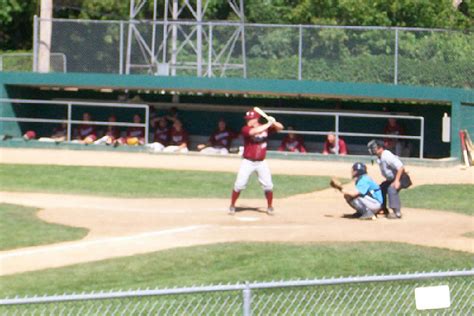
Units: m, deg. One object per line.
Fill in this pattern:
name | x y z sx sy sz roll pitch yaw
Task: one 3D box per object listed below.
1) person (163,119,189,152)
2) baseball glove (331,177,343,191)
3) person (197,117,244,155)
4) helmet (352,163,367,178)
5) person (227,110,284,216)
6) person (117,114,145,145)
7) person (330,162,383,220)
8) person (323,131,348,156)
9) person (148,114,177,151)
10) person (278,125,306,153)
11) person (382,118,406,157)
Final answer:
person | -2.041 -0.736 38.775 0.602 1.317 1.092 2 -1 -3
baseball glove | 3.016 0.759 33.032 0.330 0.434 0.799 0 6 4
person | -0.409 -0.832 38.756 1.069 1.378 1.930 0 -3 -5
helmet | 3.644 0.362 32.862 0.432 0.465 0.343 4 4 16
person | 0.581 0.106 32.908 1.430 3.286 0.855 0 5 1
person | -3.647 -0.876 38.946 0.694 1.372 0.828 3 -3 -15
person | 3.801 1.001 32.953 1.118 1.720 0.456 0 5 6
person | 3.373 -0.532 37.732 0.806 0.788 0.637 0 6 4
person | -2.680 -0.908 39.650 0.699 1.462 0.854 1 -3 -3
person | 1.992 -0.669 38.559 1.050 1.307 0.722 -2 -1 5
person | 5.528 -0.756 38.536 0.661 1.392 0.628 0 0 6
